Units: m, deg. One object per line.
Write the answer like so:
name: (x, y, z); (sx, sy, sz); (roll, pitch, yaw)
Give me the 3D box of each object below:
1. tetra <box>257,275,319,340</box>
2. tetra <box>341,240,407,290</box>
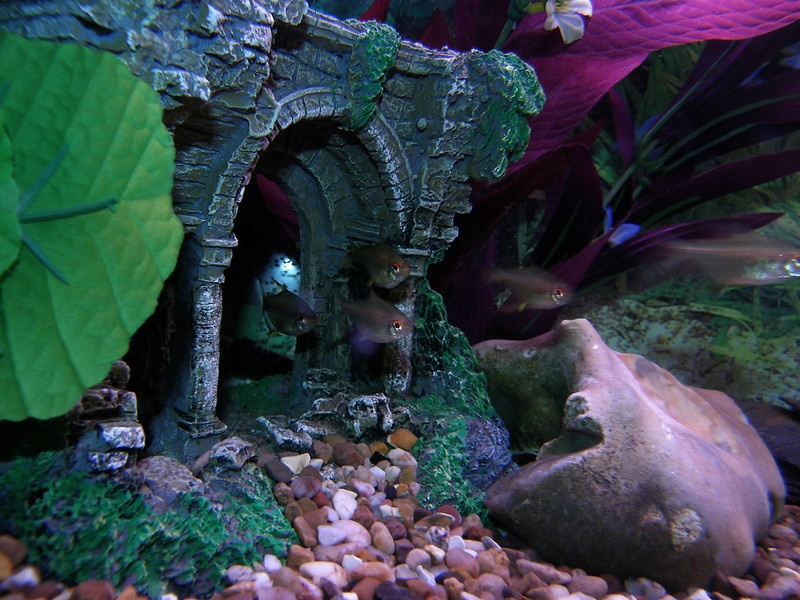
tetra: (-0.655, 0.047, 2.753); (0.499, 0.297, 0.096); (14, 6, 30)
tetra: (-0.132, -0.164, 2.911); (0.457, 0.245, 0.358); (8, -10, 9)
